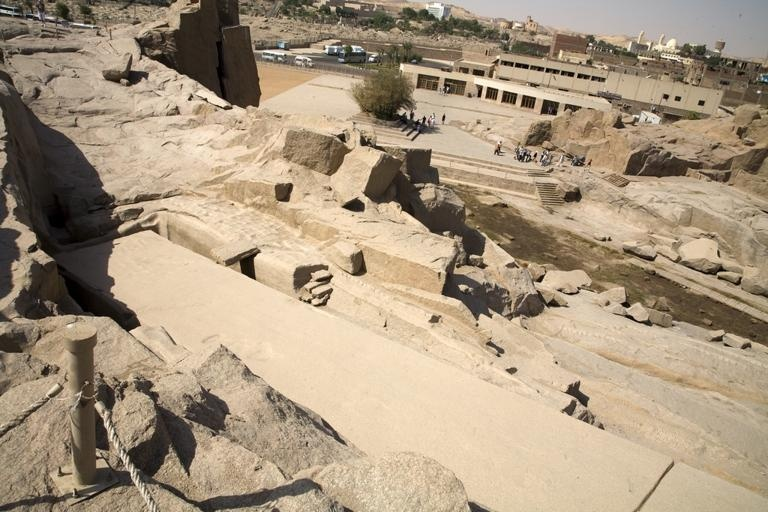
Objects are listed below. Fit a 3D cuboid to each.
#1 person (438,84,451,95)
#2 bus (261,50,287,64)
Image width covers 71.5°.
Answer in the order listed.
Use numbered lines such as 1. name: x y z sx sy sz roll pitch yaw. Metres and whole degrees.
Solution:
1. person: 3.968 -10.785 34.301 0.845 0.752 0.208 8 10 28
2. bus: -7.683 -14.089 37.449 1.541 0.581 2.484 -15 36 -35
